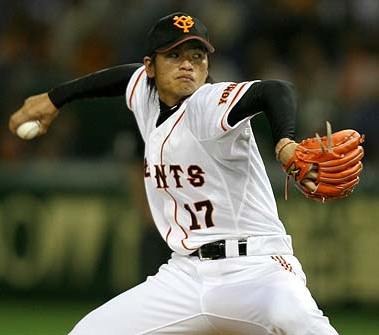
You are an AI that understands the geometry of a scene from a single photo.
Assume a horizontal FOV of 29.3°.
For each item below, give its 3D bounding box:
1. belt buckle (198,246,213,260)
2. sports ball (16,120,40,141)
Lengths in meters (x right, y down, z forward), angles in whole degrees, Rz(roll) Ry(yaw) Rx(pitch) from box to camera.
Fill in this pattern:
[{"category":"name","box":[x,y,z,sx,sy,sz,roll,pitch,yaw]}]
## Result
[{"category":"belt buckle","box":[0.081,0.515,4.251,0.068,0.077,0.022,-1,-34,2]},{"category":"sports ball","box":[-1.145,-0.251,5.071,0.129,0.145,0.132,-11,-13,-3]}]
